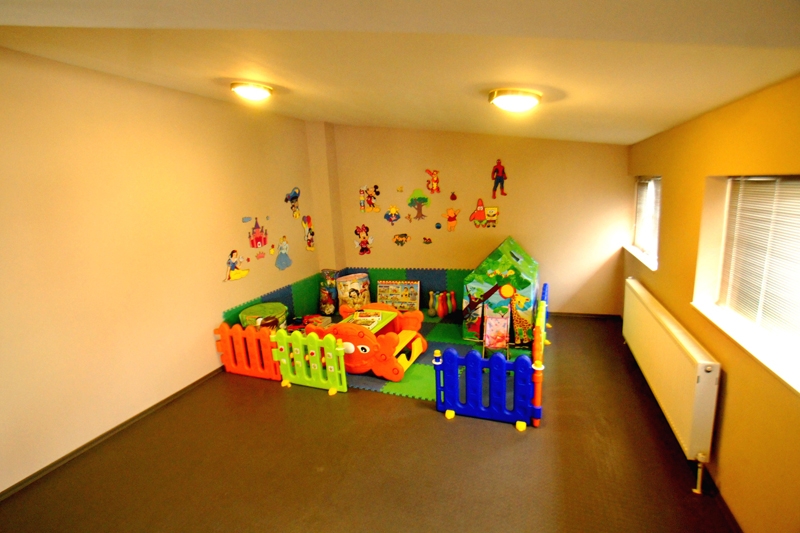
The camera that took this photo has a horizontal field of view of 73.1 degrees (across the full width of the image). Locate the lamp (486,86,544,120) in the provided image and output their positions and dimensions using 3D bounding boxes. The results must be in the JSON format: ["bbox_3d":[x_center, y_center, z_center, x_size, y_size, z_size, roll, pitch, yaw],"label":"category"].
[{"bbox_3d":[1.024,-1.433,4.646,0.494,0.160,0.363,-1,11,-4],"label":"lamp"}]
